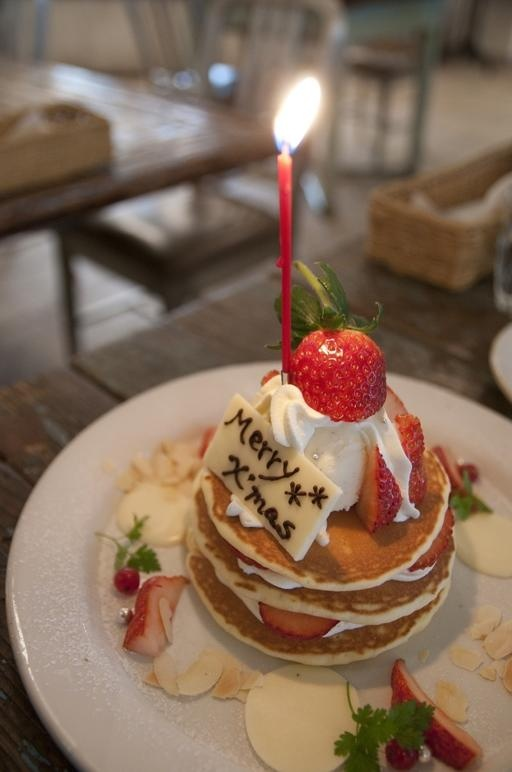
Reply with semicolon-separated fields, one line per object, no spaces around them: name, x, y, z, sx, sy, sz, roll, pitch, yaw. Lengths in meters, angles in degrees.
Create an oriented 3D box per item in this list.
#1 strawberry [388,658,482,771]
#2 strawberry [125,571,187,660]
strawberry;0.286;0.545;1.122;0.095;0.046;0.225;-24;24;-15
strawberry;-0.186;0.428;1.289;0.100;0.056;0.179;15;34;2
